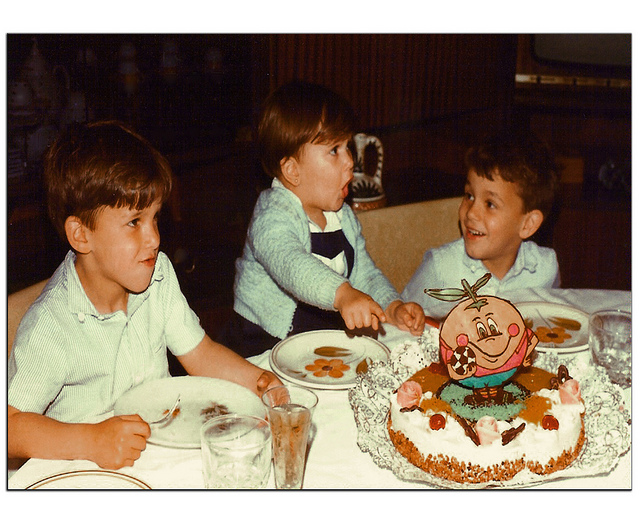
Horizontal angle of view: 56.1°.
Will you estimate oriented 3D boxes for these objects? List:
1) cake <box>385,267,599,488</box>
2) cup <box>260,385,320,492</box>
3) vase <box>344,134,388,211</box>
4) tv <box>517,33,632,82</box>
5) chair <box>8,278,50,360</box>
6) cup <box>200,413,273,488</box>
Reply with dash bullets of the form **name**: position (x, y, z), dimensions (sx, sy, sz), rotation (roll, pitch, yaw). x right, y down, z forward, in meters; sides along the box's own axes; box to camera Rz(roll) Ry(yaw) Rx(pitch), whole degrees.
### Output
- **cake**: position (0.576, 0.461, 2.094), dimensions (0.609, 0.523, 0.672), rotation (-2, 24, 3)
- **cup**: position (-0.088, 0.530, 1.870), dimensions (0.169, 0.282, 0.319), rotation (-3, 18, -5)
- **vase**: position (0.316, -0.680, 4.929), dimensions (0.414, 0.679, 0.404), rotation (-4, 10, -26)
- **tv**: position (1.957, -1.524, 4.564), dimensions (0.898, 0.256, 1.021), rotation (-10, 19, -25)
- **chair**: position (-1.141, 0.219, 2.439), dimensions (0.168, 0.221, 0.210), rotation (-5, -14, -7)
- **cup**: position (-0.236, 0.563, 1.795), dimensions (0.184, 0.246, 0.210), rotation (0, 1, -2)
